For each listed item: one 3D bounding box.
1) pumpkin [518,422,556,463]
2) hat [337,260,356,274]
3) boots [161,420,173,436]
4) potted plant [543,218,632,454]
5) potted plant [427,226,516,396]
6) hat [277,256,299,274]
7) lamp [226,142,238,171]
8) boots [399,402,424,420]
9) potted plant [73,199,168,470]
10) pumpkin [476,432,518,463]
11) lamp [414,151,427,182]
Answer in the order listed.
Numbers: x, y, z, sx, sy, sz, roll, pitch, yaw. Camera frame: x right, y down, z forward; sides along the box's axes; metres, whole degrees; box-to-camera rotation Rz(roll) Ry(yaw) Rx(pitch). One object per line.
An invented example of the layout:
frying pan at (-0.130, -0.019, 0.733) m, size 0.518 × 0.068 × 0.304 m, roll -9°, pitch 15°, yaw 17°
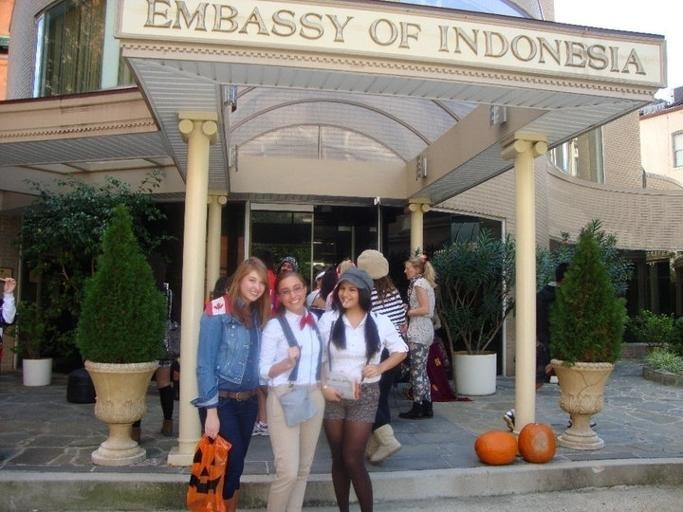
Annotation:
pumpkin at (2.339, 2.163, 7.221) m, size 0.377 × 0.456 × 0.417 m, roll 0°, pitch -5°, yaw 19°
hat at (0.050, 0.152, 8.168) m, size 0.161 × 0.236 × 0.217 m, roll -5°, pitch -15°, yaw -29°
boots at (-2.308, 2.278, 8.065) m, size 0.097 × 0.176 × 0.238 m, roll 0°, pitch 2°, yaw -18°
potted plant at (3.096, 1.004, 7.660) m, size 0.845 × 2.783 × 0.442 m, roll 0°, pitch -2°, yaw 21°
potted plant at (2.439, 1.173, 11.318) m, size 1.478 × 2.791 × 1.727 m, roll 4°, pitch -11°, yaw -26°
hat at (-0.710, 0.125, 7.972) m, size 0.210 × 0.285 × 0.271 m, roll 1°, pitch -19°, yaw 1°
lamp at (-1.951, -1.801, 11.105) m, size 0.163 × 0.514 × 0.459 m, roll 1°, pitch -1°, yaw -6°
boots at (1.030, 2.316, 9.067) m, size 0.404 × 0.314 × 0.180 m, roll 2°, pitch -4°, yaw 2°
potted plant at (-2.530, 0.674, 7.040) m, size 0.942 × 2.528 × 0.368 m, roll 1°, pitch -2°, yaw -25°
pumpkin at (1.796, 2.230, 7.069) m, size 0.347 × 0.313 × 0.393 m, roll 2°, pitch -10°, yaw -16°
lamp at (1.395, -1.556, 10.710) m, size 0.139 × 0.475 × 0.460 m, roll 2°, pitch -15°, yaw -4°
